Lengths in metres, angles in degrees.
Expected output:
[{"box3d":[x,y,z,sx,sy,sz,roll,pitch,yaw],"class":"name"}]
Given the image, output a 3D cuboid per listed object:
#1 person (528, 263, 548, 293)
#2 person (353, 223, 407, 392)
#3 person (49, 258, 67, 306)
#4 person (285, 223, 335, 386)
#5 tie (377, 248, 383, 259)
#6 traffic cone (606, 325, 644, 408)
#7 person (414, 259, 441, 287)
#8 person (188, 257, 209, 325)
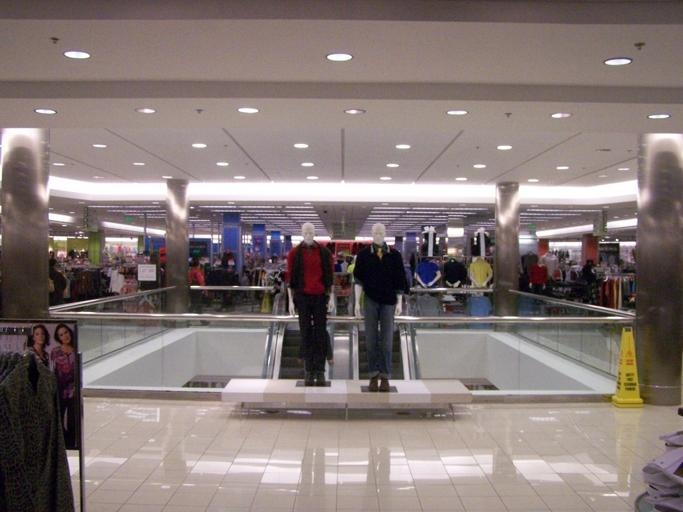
[{"box3d":[5.549,0.627,15.253,0.443,0.852,0.419,2,7,18],"class":"person"},{"box3d":[0.470,0.624,6.639,0.629,2.065,0.384,1,6,2],"class":"person"},{"box3d":[-5.808,0.517,11.013,0.284,1.040,1.057,-3,7,-28],"class":"person"},{"box3d":[-0.399,0.697,6.877,0.557,1.906,0.248,0,6,-4],"class":"person"},{"box3d":[0.456,-0.030,6.442,0.085,0.125,0.029,4,-4,5],"class":"tie"},{"box3d":[3.818,1.471,7.226,0.342,0.968,0.462,1,6,10],"class":"traffic cone"},{"box3d":[1.914,0.389,11.943,0.619,0.776,0.311,1,6,16],"class":"person"},{"box3d":[-3.346,0.628,12.557,0.375,1.065,1.802,-1,7,-16],"class":"person"}]
